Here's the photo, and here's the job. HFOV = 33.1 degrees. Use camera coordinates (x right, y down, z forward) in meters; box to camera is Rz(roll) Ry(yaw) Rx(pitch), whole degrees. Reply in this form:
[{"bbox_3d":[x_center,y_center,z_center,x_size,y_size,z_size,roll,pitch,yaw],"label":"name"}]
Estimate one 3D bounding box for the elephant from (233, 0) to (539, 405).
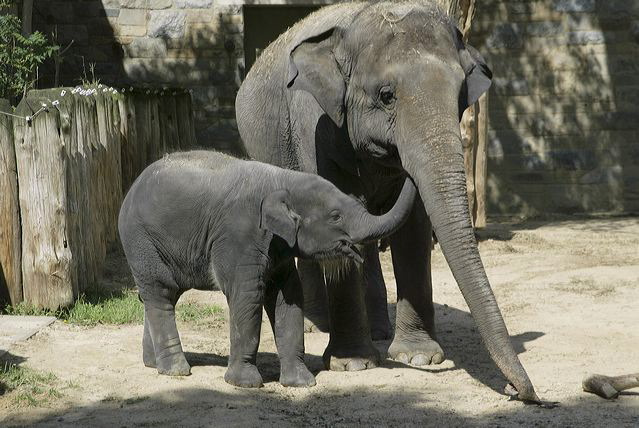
[{"bbox_3d":[0.564,-0.174,10.600,1.660,3.900,2.992,-4,3,-38],"label":"elephant"}]
